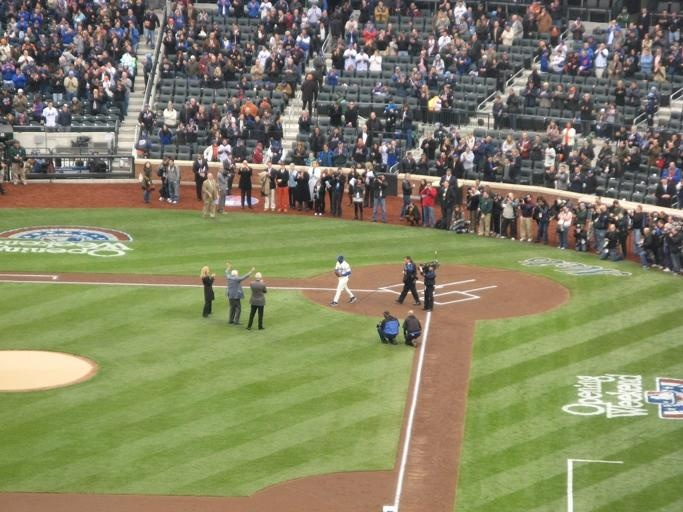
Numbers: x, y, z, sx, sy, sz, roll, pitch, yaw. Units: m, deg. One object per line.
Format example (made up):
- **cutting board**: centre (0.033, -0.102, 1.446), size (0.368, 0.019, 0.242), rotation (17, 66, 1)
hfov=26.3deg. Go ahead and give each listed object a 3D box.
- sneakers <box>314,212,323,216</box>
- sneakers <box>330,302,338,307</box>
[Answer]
- **sneakers**: centre (-1.113, -2.133, 70.749), size (0.440, 0.169, 0.144), rotation (1, 14, 17)
- **sneakers**: centre (-0.267, 1.794, 58.098), size (0.246, 0.258, 0.483), rotation (5, 8, 0)
